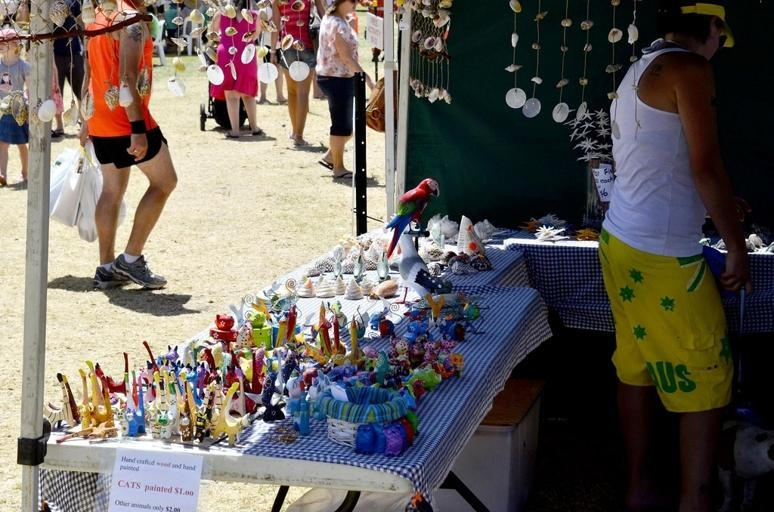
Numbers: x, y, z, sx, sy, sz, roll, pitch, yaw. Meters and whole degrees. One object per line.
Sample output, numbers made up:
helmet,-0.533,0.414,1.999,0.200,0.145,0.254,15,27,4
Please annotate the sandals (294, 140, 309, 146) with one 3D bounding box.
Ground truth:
sandals,-1.016,-1.337,12.100,0.120,0.064,0.071,0,9,8

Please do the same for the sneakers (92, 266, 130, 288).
sneakers,-2.082,0.160,7.674,0.291,0.201,0.127,-5,12,-24

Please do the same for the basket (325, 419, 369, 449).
basket,-0.183,0.741,4.245,0.098,0.100,0.114,10,-2,-39

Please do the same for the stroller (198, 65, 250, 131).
stroller,-2.112,-1.988,13.016,0.442,1.134,0.671,0,-4,-11

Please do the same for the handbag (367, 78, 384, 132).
handbag,-0.077,-1.126,7.659,0.125,0.409,0.312,0,9,4

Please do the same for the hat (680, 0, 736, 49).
hat,1.572,-1.111,4.877,0.159,0.209,0.400,7,14,41

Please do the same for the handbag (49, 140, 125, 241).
handbag,-2.207,-0.474,7.491,0.437,0.591,0.307,24,35,12

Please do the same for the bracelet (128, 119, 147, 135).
bracelet,-1.614,-0.832,6.584,0.070,0.080,0.082,0,4,-12
